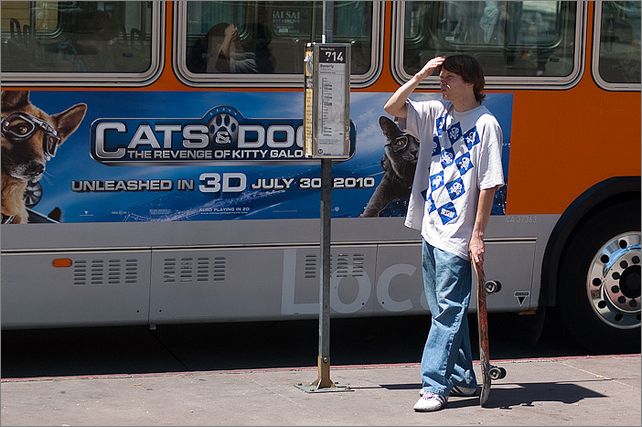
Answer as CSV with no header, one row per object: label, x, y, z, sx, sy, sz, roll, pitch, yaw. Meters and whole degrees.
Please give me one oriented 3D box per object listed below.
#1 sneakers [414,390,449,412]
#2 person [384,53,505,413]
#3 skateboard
sneakers,0.963,1.632,8.192,0.287,0.141,0.107,-8,-16,-17
person,1.101,0.157,8.259,0.794,3.036,0.688,-2,11,-12
skateboard,1.413,1.075,8.205,0.217,1.451,0.251,-4,4,-4
